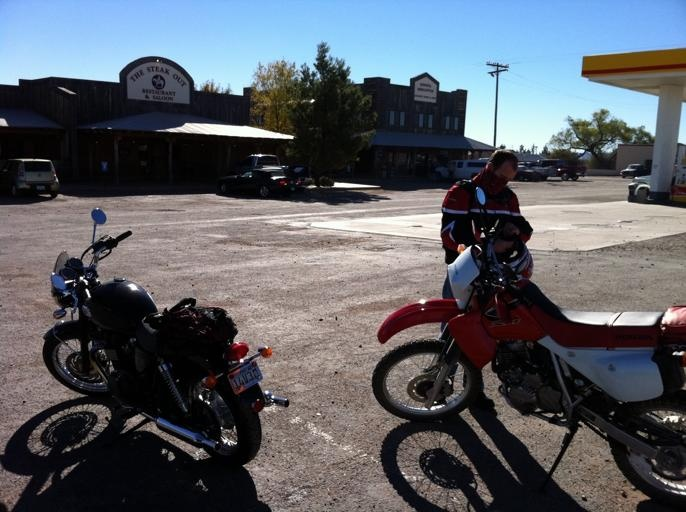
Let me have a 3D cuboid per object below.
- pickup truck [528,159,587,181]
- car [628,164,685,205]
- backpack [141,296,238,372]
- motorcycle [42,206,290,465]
[{"bbox_3d":[24.756,-10.118,59.067,8.259,2.146,4.102,-10,17,-43],"label":"pickup truck"},{"bbox_3d":[18.237,-4.080,29.399,2.421,1.511,1.536,3,12,18],"label":"car"},{"bbox_3d":[-1.120,0.563,3.809,0.549,0.471,0.291,10,-20,11],"label":"backpack"},{"bbox_3d":[-1.729,0.649,4.217,2.690,1.861,1.051,8,19,33],"label":"motorcycle"}]
